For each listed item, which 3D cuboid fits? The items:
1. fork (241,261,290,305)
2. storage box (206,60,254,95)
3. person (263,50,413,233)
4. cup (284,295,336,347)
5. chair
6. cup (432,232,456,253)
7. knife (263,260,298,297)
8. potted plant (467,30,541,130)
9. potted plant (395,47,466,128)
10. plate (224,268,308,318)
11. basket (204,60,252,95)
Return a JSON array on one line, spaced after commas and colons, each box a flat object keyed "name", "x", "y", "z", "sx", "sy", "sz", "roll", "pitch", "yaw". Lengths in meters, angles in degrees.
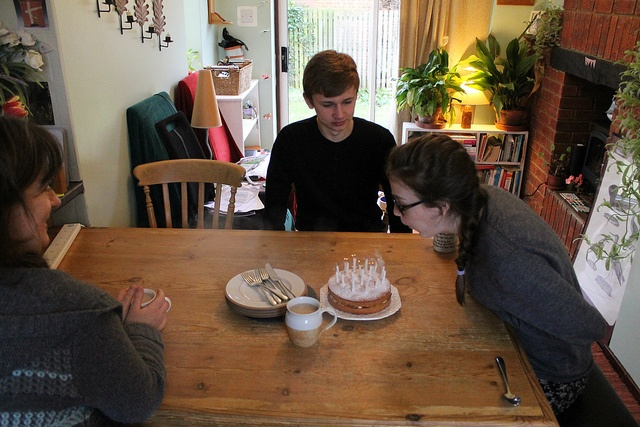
[{"name": "fork", "x": -0.196, "y": 0.271, "z": 1.632, "sx": 0.088, "sy": 0.029, "sz": 0.203, "roll": -11, "pitch": 30, "yaw": -26}, {"name": "storage box", "x": -0.874, "y": -1.394, "z": 4.452, "sx": 0.319, "sy": 0.196, "sz": 0.493, "roll": 1, "pitch": 27, "yaw": 3}, {"name": "person", "x": 0.108, "y": -0.264, "z": 2.351, "sx": 0.814, "sy": 1.117, "sz": 0.670, "roll": 4, "pitch": 31, "yaw": 10}, {"name": "cup", "x": -0.047, "y": 0.363, "z": 1.508, "sx": 0.187, "sy": 0.138, "sz": 0.127, "roll": -1, "pitch": 24, "yaw": -9}, {"name": "chair", "x": -0.682, "y": -0.142, "z": 2.453, "sx": 0.470, "sy": 0.612, "sz": 0.437, "roll": -2, "pitch": 22, "yaw": -7}, {"name": "cup", "x": 0.536, "y": 0.124, "z": 1.928, "sx": 0.086, "sy": 0.089, "sz": 0.085, "roll": -3, "pitch": 25, "yaw": 2}, {"name": "knife", "x": -0.150, "y": 0.258, "z": 1.651, "sx": 0.046, "sy": 0.015, "sz": 0.277, "roll": -23, "pitch": 29, "yaw": -9}, {"name": "potted plant", "x": 1.848, "y": -1.447, "z": 4.682, "sx": 0.840, "sy": 0.916, "sz": 0.909, "roll": 9, "pitch": 27, "yaw": 29}, {"name": "potted plant", "x": 1.213, "y": -1.318, "z": 4.526, "sx": 0.666, "sy": 0.640, "sz": 0.803, "roll": 10, "pitch": 20, "yaw": 3}, {"name": "plate", "x": -0.227, "y": 0.302, "z": 1.580, "sx": 0.182, "sy": 0.038, "sz": 0.183, "roll": 9, "pitch": 27, "yaw": 17}, {"name": "basket", "x": -0.870, "y": -1.389, "z": 4.476, "sx": 0.338, "sy": 0.195, "sz": 0.526, "roll": 2, "pitch": 26, "yaw": 4}]
